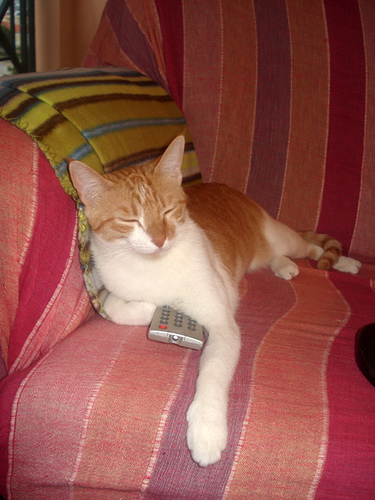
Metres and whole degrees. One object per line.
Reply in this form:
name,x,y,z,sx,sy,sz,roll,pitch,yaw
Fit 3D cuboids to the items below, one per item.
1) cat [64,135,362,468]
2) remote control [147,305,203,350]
cat,0.092,-0.016,1.290,0.544,0.552,1.009,18,24,25
remote control,-0.024,0.185,1.139,0.125,0.052,0.120,7,21,2
